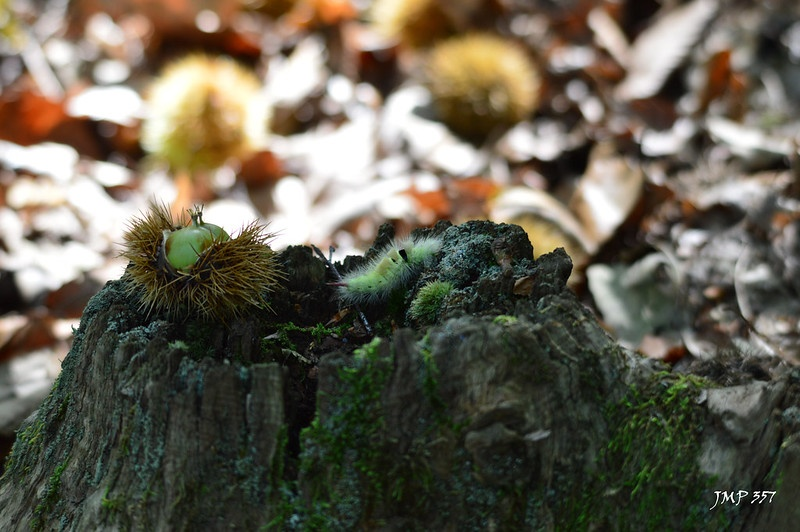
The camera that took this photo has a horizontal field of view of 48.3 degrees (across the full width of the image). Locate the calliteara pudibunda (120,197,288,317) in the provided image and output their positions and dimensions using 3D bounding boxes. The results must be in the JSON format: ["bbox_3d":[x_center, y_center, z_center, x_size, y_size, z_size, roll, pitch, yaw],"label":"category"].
[{"bbox_3d":[-0.928,0.007,4.217,0.643,0.460,0.690,-3,-10,10],"label":"calliteara pudibunda"}]
